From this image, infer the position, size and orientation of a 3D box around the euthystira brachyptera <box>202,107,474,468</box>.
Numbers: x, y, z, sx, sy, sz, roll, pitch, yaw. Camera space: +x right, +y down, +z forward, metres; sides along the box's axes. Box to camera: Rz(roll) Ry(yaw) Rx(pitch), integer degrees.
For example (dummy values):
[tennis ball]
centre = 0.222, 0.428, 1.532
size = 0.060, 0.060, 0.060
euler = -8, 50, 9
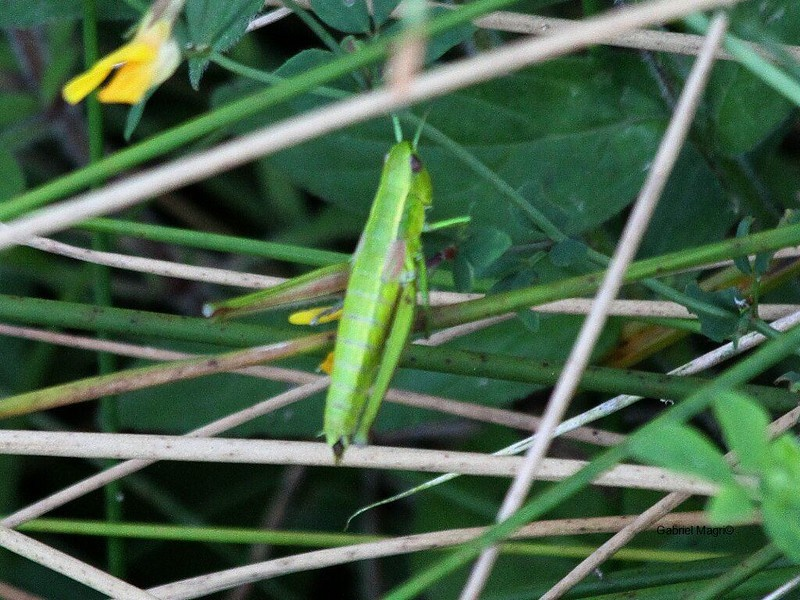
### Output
[euthystira brachyptera]
centre = -0.065, -0.015, 1.213
size = 0.200, 0.360, 0.159
euler = 3, -4, 7
